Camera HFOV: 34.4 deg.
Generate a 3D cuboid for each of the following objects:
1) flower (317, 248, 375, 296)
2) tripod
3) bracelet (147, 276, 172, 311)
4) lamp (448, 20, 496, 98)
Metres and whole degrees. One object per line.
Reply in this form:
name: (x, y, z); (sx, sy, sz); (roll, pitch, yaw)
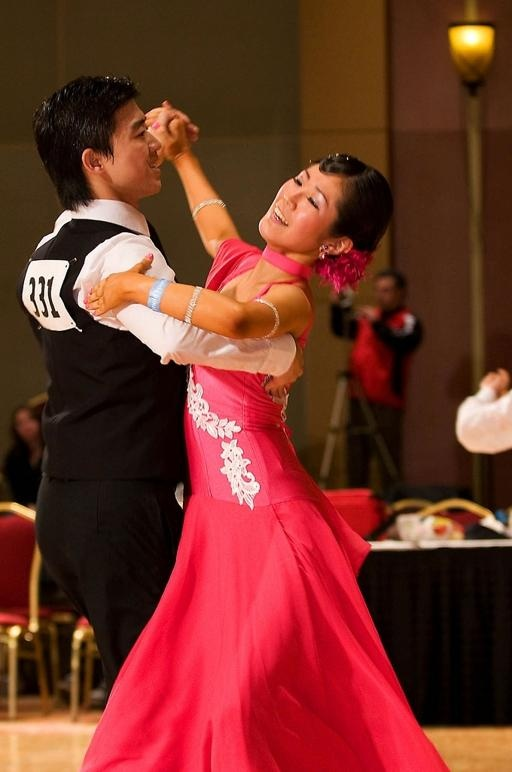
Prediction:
flower: (0.157, -0.202, 1.498); (0.081, 0.076, 0.046); (-23, 23, -12)
tripod: (0.497, 0.207, 4.685); (0.613, 0.882, 0.662); (1, -7, -6)
bracelet: (-0.144, -0.132, 1.188); (0.011, 0.043, 0.032); (14, 7, 7)
lamp: (0.897, -1.403, 3.492); (0.220, 0.294, 0.204); (-2, 0, -4)
